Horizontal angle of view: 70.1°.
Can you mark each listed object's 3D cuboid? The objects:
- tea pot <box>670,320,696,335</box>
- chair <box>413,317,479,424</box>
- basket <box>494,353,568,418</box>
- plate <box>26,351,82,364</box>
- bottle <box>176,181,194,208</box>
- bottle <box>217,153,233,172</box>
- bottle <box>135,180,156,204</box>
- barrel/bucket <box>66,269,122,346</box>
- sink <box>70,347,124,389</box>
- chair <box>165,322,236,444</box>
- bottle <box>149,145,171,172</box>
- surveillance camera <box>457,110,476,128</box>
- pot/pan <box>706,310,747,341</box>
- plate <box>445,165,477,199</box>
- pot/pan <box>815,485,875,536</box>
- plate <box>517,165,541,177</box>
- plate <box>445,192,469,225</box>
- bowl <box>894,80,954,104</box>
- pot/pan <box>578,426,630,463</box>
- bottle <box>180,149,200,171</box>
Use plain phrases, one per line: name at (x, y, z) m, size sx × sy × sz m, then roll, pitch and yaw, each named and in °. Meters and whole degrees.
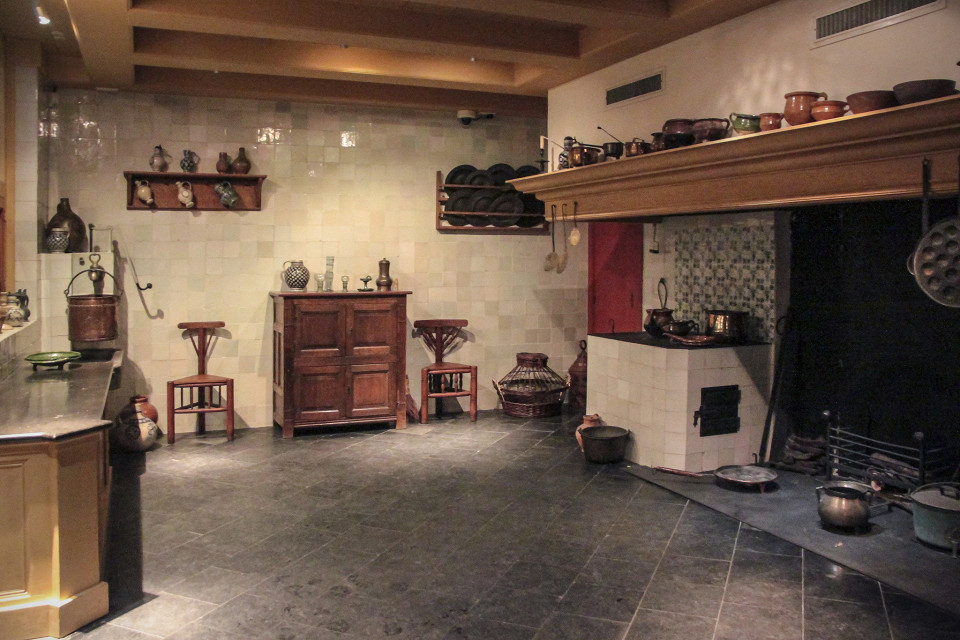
tea pot at (2.043, 0.055, 6.902) m, size 0.235 × 0.105 × 0.195 m, roll 0°, pitch 1°, yaw 22°
chair at (-0.439, 0.623, 8.505) m, size 0.703 × 1.193 × 0.843 m, roll -2°, pitch 13°, yaw -6°
basket at (0.636, 0.805, 8.749) m, size 0.936 × 0.742 × 0.646 m, roll 0°, pitch 13°, yaw 2°
plate at (-3.747, 0.341, 5.993) m, size 0.367 × 0.094 × 0.259 m, roll -5°, pitch 13°, yaw -18°
bottle at (-3.305, -1.426, 7.697) m, size 0.198 × 0.273 × 0.087 m, roll -24°, pitch 0°, yaw -6°
bottle at (-2.927, -1.804, 7.838) m, size 0.168 × 0.231 × 0.226 m, roll -5°, pitch 14°, yaw -18°
bottle at (-3.745, -1.422, 7.636) m, size 0.195 × 0.291 × 0.174 m, roll -6°, pitch 14°, yaw -21°
barrel/bucket at (-4.068, -0.172, 7.165) m, size 0.481 × 0.717 × 0.568 m, roll -9°, pitch 16°, yaw -32°
sink at (-3.728, 0.468, 6.713) m, size 0.344 × 0.370 × 1.499 m, roll -7°, pitch 14°, yaw -25°
chair at (-3.140, 0.700, 7.632) m, size 0.744 × 1.273 × 0.808 m, roll -6°, pitch 14°, yaw -20°
bottle at (-3.566, -1.819, 7.666) m, size 0.170 × 0.290 × 0.253 m, roll 8°, pitch 16°, yaw 31°
surveillance camera at (-0.153, -2.540, 8.570) m, size 0.221 × 0.174 × 0.291 m, roll 0°, pitch 13°, yaw 1°
pot/pan at (2.455, 0.055, 6.925) m, size 0.284 × 0.340 × 0.500 m, roll 1°, pitch -1°, yaw -22°
plate at (-0.239, -1.776, 8.667) m, size 0.428 × 0.383 × 0.159 m, roll -3°, pitch 14°, yaw -11°
pot/pan at (2.866, 1.500, 5.450) m, size 0.421 × 0.257 × 0.320 m, roll -2°, pitch 5°, yaw -15°
plate at (0.619, -1.936, 8.861) m, size 0.329 × 0.070 × 0.318 m, roll 2°, pitch 8°, yaw 17°
plate at (-0.284, -1.447, 8.667) m, size 0.083 × 0.343 × 0.365 m, roll 2°, pitch 33°, yaw 47°
bowl at (2.908, -1.491, 4.447) m, size 0.363 × 0.157 × 0.218 m, roll 4°, pitch 13°, yaw 17°
pot/pan at (1.249, 1.250, 6.814) m, size 0.424 × 0.201 × 0.380 m, roll -1°, pitch 6°, yaw -7°
bottle at (-3.293, -1.812, 7.757) m, size 0.145 × 0.239 × 0.248 m, roll 2°, pitch 13°, yaw 10°
